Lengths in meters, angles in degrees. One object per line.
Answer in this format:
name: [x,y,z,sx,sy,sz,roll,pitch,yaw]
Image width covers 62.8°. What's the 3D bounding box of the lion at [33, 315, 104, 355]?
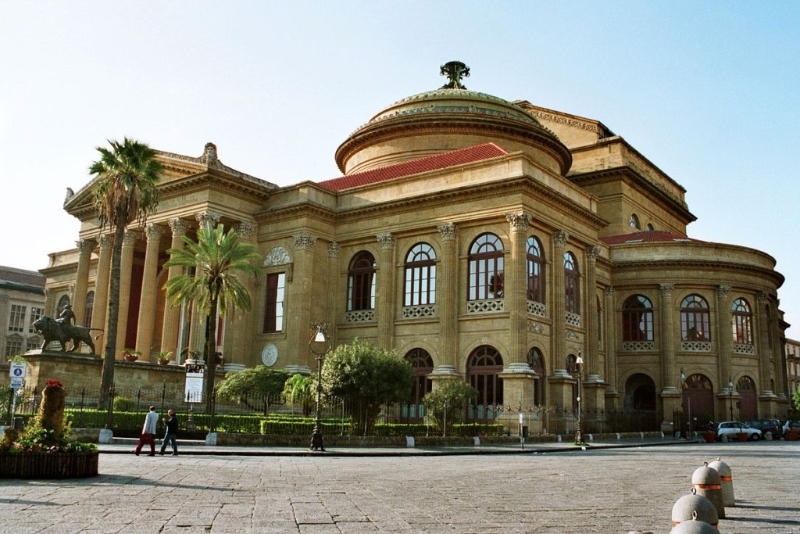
lion: [-20.292,4.061,39.332,2.006,2.204,2.962,-11,-20,32]
